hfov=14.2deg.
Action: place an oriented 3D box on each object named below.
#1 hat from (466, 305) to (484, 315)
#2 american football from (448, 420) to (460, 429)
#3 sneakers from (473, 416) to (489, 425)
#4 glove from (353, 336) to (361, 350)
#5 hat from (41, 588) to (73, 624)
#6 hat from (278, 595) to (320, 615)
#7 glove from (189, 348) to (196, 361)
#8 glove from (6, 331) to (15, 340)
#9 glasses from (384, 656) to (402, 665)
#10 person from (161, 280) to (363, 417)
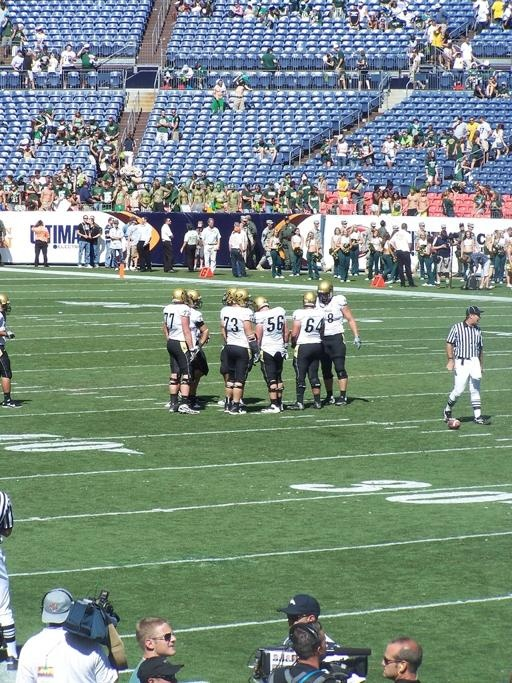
[{"bbox_3d":[2.642,-0.341,24.721,0.144,0.087,0.109,-5,21,-4],"label":"hat"},{"bbox_3d":[2.413,1.033,25.062,0.107,0.121,0.113,-2,-2,3],"label":"american football"},{"bbox_3d":[2.741,1.013,25.335,0.254,0.129,0.098,3,31,10],"label":"sneakers"},{"bbox_3d":[1.340,0.043,27.248,0.080,0.117,0.258,0,-12,6],"label":"glove"},{"bbox_3d":[-1.438,1.952,14.978,0.174,0.147,0.270,3,38,6],"label":"hat"},{"bbox_3d":[0.350,1.958,15.052,0.221,0.140,0.155,9,-10,-3],"label":"hat"},{"bbox_3d":[-0.784,0.189,25.902,0.089,0.129,0.133,0,-12,-1],"label":"glove"},{"bbox_3d":[-3.363,-0.057,28.327,0.106,0.087,0.146,5,9,-12],"label":"glove"},{"bbox_3d":[0.975,2.304,14.662,0.081,0.027,0.082,10,-3,-9],"label":"glasses"},{"bbox_3d":[0.215,0.139,26.254,2.016,1.617,0.937,-4,2,-41],"label":"person"}]
